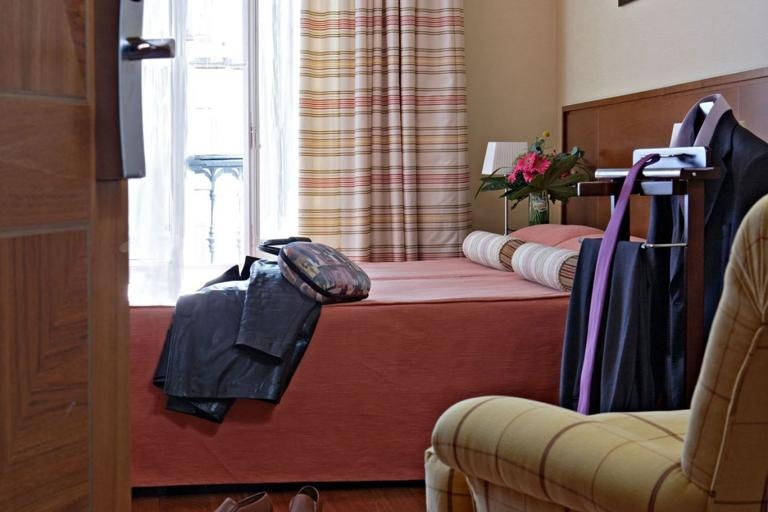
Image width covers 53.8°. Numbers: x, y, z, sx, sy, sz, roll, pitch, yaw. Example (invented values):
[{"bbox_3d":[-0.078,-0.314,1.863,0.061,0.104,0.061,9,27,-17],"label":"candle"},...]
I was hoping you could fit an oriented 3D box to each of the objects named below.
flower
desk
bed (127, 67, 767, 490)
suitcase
[{"bbox_3d":[0.857,-0.391,4.232,0.523,0.374,0.603,-18,19,-37],"label":"flower"},{"bbox_3d":[-1.075,-0.287,4.778,0.369,0.639,0.371,0,-8,-4],"label":"desk"},{"bbox_3d":[0.145,0.242,3.259,1.837,1.176,1.827,0,2,-3],"label":"bed"},{"bbox_3d":[-0.226,0.064,2.829,0.364,0.138,0.289,34,19,33],"label":"suitcase"}]
